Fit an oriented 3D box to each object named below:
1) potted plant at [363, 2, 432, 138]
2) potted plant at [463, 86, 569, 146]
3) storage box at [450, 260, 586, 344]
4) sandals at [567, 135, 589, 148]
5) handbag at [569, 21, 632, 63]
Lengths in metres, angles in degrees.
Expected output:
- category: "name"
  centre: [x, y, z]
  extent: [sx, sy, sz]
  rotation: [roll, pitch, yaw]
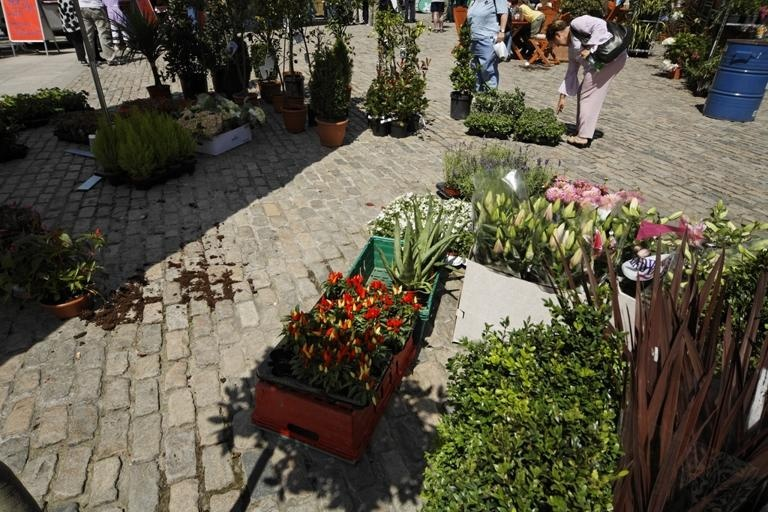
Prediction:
- category: "potted plant"
  centre: [0.240, -3.684, 9.085]
  extent: [1.234, 2.253, 1.233]
  rotation: [1, 32, 2]
- category: "potted plant"
  centre: [2.623, -2.881, 9.323]
  extent: [1.522, 0.638, 1.643]
  rotation: [8, 39, 6]
- category: "storage box"
  centre: [1.092, 0.511, 4.310]
  extent: [0.827, 0.548, 0.868]
  rotation: [0, 33, -33]
- category: "sandals"
  centre: [3.869, -2.339, 9.092]
  extent: [0.235, 0.138, 0.364]
  rotation: [-10, 18, -15]
- category: "handbag"
  centre: [3.848, -3.875, 8.101]
  extent: [0.780, 0.556, 0.447]
  rotation: [13, 5, 1]
